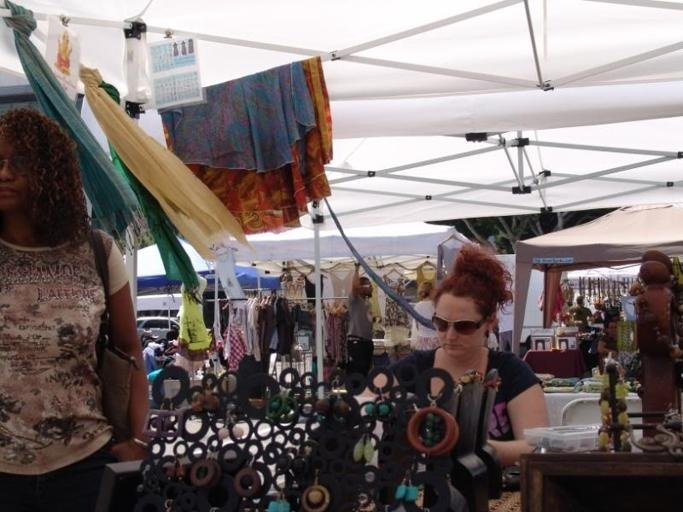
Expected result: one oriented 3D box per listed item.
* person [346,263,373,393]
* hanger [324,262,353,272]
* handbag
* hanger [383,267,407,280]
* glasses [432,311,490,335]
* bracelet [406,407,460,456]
[{"bbox_3d":[0.219,0.826,8.510,0.267,1.344,0.307,6,5,-21],"label":"person"},{"bbox_3d":[-0.071,0.162,11.224,0.282,0.093,0.218,-7,-11,36],"label":"hanger"},{"bbox_3d":[-0.783,0.318,2.409,0.050,0.396,0.193,-5,-28,28],"label":"handbag"},{"bbox_3d":[0.843,0.268,11.269,0.296,0.230,0.092,-5,31,-11],"label":"hanger"},{"bbox_3d":[0.443,0.259,2.662,0.198,0.071,0.079,1,0,15],"label":"glasses"},{"bbox_3d":[0.235,0.449,1.817,0.127,0.124,0.040,1,0,5],"label":"bracelet"}]
